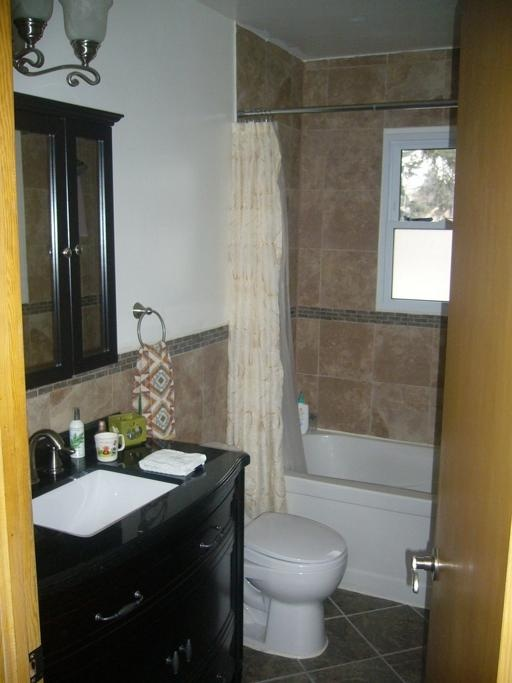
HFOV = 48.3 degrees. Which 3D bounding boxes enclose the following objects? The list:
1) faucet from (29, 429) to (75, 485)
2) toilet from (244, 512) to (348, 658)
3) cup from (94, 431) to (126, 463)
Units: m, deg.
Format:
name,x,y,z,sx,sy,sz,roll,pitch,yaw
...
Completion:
name,x,y,z,sx,sy,sz,roll,pitch,yaw
faucet,-0.597,0.329,1.635,0.132,0.204,0.061,3,31,-13
toilet,0.107,1.066,2.576,0.484,0.526,0.394,10,12,35
cup,-0.475,0.340,1.865,0.088,0.098,0.079,2,0,-21
